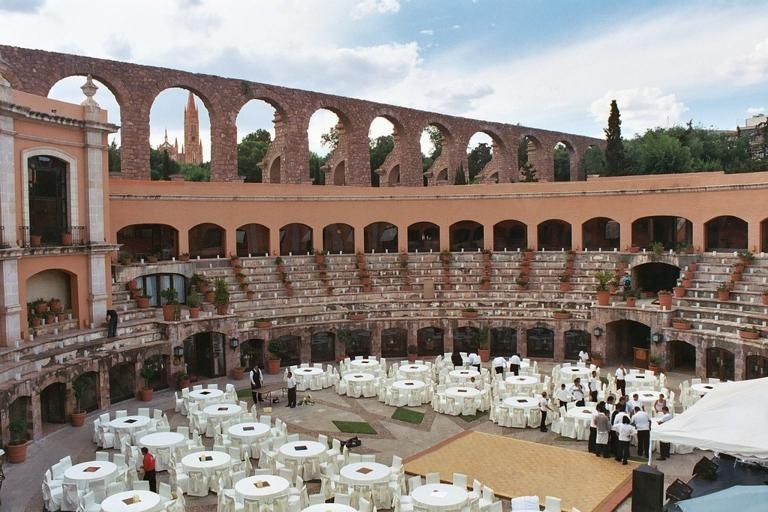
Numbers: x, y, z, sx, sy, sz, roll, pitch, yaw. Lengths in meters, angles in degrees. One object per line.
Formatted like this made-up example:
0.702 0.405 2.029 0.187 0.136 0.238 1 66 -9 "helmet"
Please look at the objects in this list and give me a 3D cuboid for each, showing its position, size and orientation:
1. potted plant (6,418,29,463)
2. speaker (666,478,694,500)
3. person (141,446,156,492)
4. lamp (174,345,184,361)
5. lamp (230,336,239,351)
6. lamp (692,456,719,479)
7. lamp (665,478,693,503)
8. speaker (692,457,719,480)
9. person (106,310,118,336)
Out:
-14.901 7.475 28.821 0.673 1.680 1.274 -3 2 -24 "potted plant"
9.752 7.824 23.493 0.730 0.456 0.742 -9 6 37 "speaker"
-8.698 7.883 26.304 0.479 1.869 1.272 -2 2 -19 "person"
-10.477 4.940 36.089 0.425 0.724 0.283 -2 2 -20 "lamp"
-8.019 4.723 38.008 0.496 0.769 0.403 -3 2 -32 "lamp"
11.240 7.397 24.650 0.747 0.700 0.710 3 -14 -41 "lamp"
9.713 7.838 23.593 0.782 0.508 0.758 -14 3 -29 "lamp"
11.175 7.435 24.702 0.746 0.699 0.705 4 -16 -40 "speaker"
-13.372 3.345 34.809 0.448 1.273 0.790 -3 2 -21 "person"
